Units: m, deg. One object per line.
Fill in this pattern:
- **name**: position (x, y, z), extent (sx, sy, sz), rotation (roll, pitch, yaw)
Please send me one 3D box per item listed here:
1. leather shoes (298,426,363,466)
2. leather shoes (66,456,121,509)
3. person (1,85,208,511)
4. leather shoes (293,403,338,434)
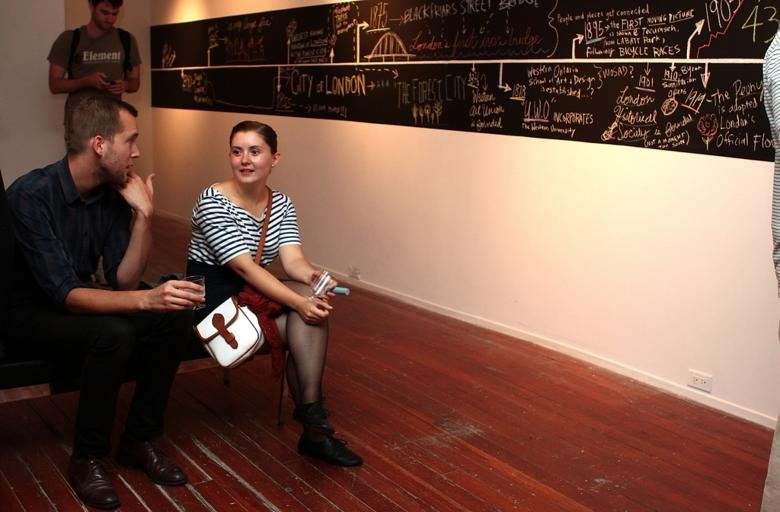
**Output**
- **leather shoes**: position (-0.276, 0.860, 2.292), extent (0.352, 0.130, 0.126), rotation (11, 5, 9)
- **leather shoes**: position (-1.168, 0.892, 1.930), extent (0.111, 0.109, 0.314), rotation (-7, 13, -41)
- **person**: position (-1.194, 0.174, 2.007), extent (0.655, 1.590, 0.772), rotation (-10, 23, -35)
- **leather shoes**: position (-0.345, 0.688, 2.188), extent (0.177, 0.141, 0.148), rotation (3, -3, -29)
